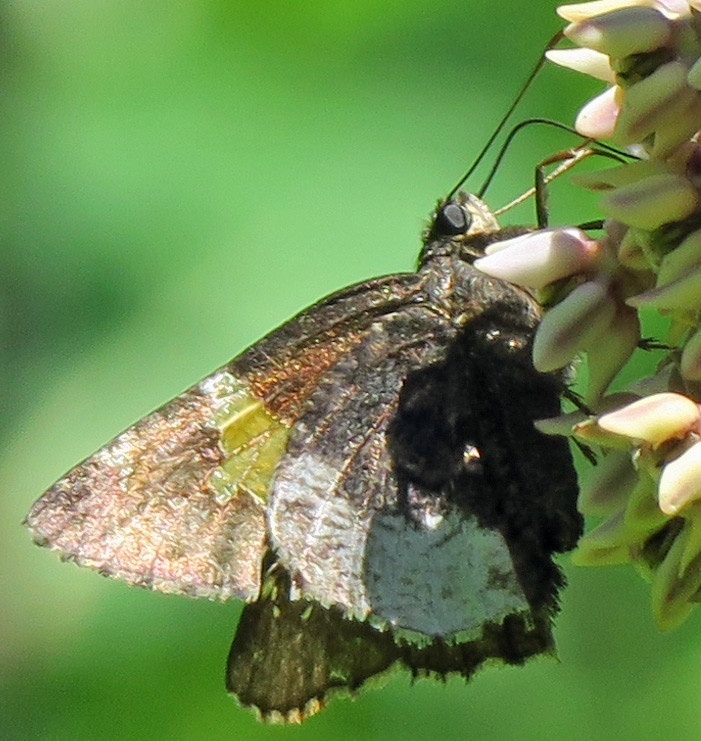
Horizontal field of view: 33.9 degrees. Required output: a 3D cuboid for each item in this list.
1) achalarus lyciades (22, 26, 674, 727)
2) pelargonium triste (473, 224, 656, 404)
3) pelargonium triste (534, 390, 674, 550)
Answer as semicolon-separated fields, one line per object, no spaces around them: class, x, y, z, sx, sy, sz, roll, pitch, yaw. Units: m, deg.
achalarus lyciades;0.065;-0.019;1.857;0.868;0.725;0.958;-43;10;37
pelargonium triste;0.204;-0.045;1.171;0.182;0.144;0.111;-49;-23;12
pelargonium triste;0.257;0.092;1.124;0.104;0.154;0.079;5;7;10
